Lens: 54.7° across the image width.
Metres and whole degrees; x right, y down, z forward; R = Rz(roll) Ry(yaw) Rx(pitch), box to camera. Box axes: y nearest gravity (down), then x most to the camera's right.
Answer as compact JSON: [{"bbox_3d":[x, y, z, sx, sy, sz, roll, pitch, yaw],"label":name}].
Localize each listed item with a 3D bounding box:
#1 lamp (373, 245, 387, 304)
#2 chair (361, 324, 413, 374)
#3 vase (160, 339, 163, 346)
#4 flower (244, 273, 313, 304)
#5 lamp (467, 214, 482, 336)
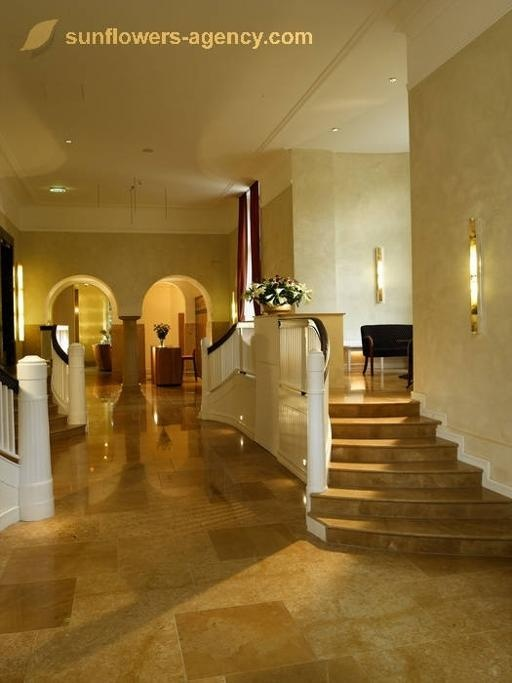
[{"bbox_3d":[2.406,-1.296,9.668,0.212,1.082,0.112,0,1,2],"label":"lamp"},{"bbox_3d":[2.439,0.112,8.714,1.023,0.937,0.544,0,-2,-8],"label":"chair"},{"bbox_3d":[-2.618,0.028,13.894,0.057,0.202,0.247,-1,1,-23],"label":"vase"},{"bbox_3d":[0.280,-0.665,6.415,0.717,0.401,0.465,0,1,3],"label":"flower"},{"bbox_3d":[1.810,-0.549,4.100,0.065,0.956,0.102,-1,1,-44],"label":"lamp"}]
